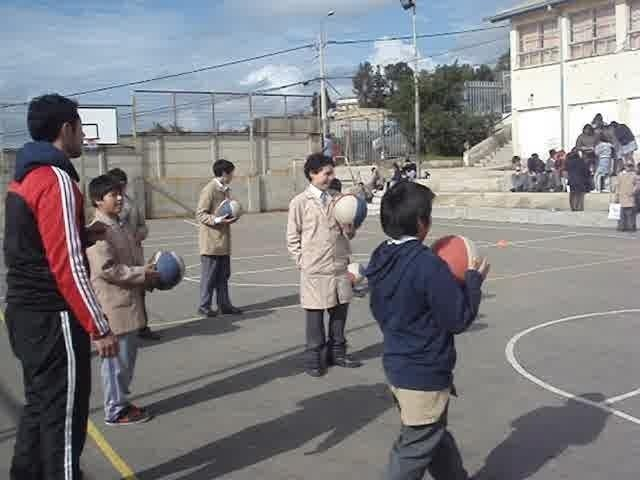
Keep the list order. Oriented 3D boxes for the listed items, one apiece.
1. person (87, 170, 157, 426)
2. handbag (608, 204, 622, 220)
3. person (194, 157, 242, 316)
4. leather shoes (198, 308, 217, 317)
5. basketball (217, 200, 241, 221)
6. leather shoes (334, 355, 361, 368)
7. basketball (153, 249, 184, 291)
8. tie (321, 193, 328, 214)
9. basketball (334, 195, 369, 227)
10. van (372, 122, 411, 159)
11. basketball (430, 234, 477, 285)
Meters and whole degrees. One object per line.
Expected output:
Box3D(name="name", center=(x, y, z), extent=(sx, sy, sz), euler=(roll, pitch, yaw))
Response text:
Box3D(name="person", center=(-1.847, 0.527, 5.931), extent=(0.761, 2.217, 0.804), euler=(1, 10, -22))
Box3D(name="handbag", center=(7.249, -0.707, 15.840), extent=(0.259, 0.393, 0.119), euler=(2, -3, 24))
Box3D(name="person", center=(-1.445, -0.021, 9.037), extent=(0.609, 2.167, 0.516), euler=(-4, 9, -10))
Box3D(name="leather shoes", center=(-1.582, 1.001, 9.071), extent=(0.212, 0.102, 0.117), euler=(2, 1, 0))
Box3D(name="basketball", center=(-1.264, -0.427, 8.914), extent=(0.318, 0.242, 0.302), euler=(-1, 10, 3))
Box3D(name="leather shoes", center=(0.335, 1.330, 7.094), extent=(0.326, 0.154, 0.116), euler=(-5, -3, 8))
Box3D(name="basketball", center=(-1.447, 0.305, 5.995), extent=(0.241, 0.371, 0.439), euler=(2, 11, 23))
Box3D(name="tie", center=(0.055, -0.404, 6.919), extent=(0.103, 0.182, 0.087), euler=(-5, -9, 43))
Box3D(name="basketball", center=(0.332, -0.279, 6.822), extent=(0.293, 0.367, 0.325), euler=(4, -7, -13))
Box3D(name="van", center=(4.550, -6.531, 43.047), extent=(2.026, 3.086, 2.859), euler=(-2, 7, -7))
Box3D(name="basketball", center=(0.948, 0.085, 4.555), extent=(0.263, 0.308, 0.315), euler=(28, -2, 34))
